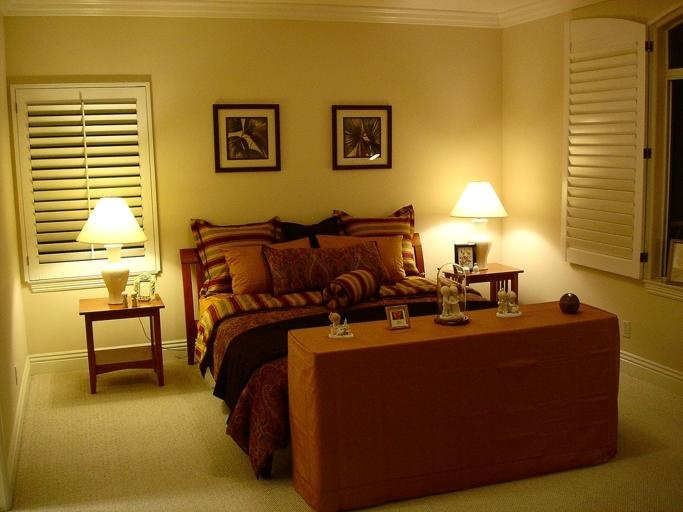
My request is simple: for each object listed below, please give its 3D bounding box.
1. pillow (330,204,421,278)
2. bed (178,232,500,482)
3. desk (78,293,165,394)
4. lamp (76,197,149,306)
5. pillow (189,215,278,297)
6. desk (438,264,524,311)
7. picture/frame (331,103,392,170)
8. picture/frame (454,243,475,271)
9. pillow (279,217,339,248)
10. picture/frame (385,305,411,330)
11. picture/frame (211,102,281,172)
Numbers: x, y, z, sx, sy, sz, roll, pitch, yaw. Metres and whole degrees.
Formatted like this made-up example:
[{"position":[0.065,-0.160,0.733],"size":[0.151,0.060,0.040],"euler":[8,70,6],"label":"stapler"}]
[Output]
[{"position":[0.300,-0.125,4.755],"size":[0.601,0.631,0.222],"euler":[1,-26,-16],"label":"pillow"},{"position":[-0.450,0.591,3.601],"size":[1.407,0.772,1.432],"euler":[-7,12,-23],"label":"bed"},{"position":[-1.826,0.585,4.452],"size":[0.849,0.921,0.708],"euler":[-4,8,-22],"label":"desk"},{"position":[-1.929,-0.053,4.310],"size":[0.510,0.866,0.381],"euler":[4,10,30],"label":"lamp"},{"position":[-1.124,0.001,4.747],"size":[0.664,0.725,0.205],"euler":[-8,-6,-35],"label":"pillow"},{"position":[1.480,0.196,5.161],"size":[0.585,0.600,0.460],"euler":[-7,12,-29],"label":"desk"},{"position":[0.171,-1.219,5.088],"size":[0.587,0.663,0.042],"euler":[-2,5,-18],"label":"picture/frame"},{"position":[1.171,0.006,4.854],"size":[0.235,0.349,0.047],"euler":[-1,10,4],"label":"picture/frame"},{"position":[-0.288,-0.253,4.854],"size":[0.335,0.349,0.105],"euler":[-6,-22,-20],"label":"pillow"},{"position":[0.314,0.343,2.850],"size":[0.125,0.141,0.014],"euler":[2,-18,-18],"label":"picture/frame"},{"position":[-0.925,-1.146,4.811],"size":[0.578,0.627,0.046],"euler":[-3,11,-10],"label":"picture/frame"}]
